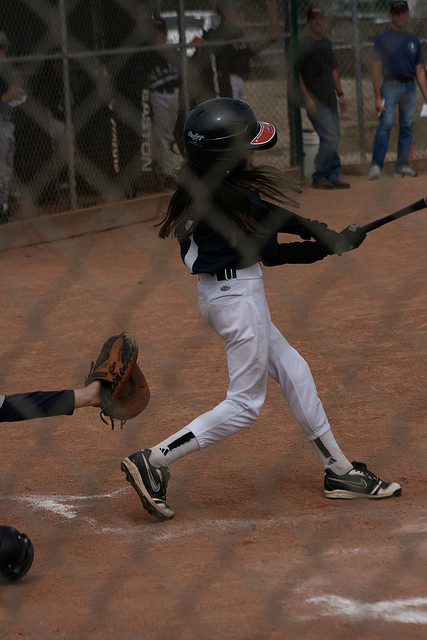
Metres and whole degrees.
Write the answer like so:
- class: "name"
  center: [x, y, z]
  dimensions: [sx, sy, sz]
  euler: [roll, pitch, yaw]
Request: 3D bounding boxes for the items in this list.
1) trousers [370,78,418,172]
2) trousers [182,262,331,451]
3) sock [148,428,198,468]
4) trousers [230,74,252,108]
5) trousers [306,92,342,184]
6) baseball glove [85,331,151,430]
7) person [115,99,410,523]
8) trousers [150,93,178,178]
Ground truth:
- class: "trousers"
  center: [2.130, -2.294, 8.174]
  dimensions: [0.472, 1.018, 0.597]
  euler: [2, 15, 12]
- class: "trousers"
  center: [0.141, 0.118, 2.227]
  dimensions: [0.478, 0.603, 0.243]
  euler: [-2, 15, -5]
- class: "sock"
  center: [-0.122, 0.390, 2.205]
  dimensions: [0.169, 0.094, 0.084]
  euler: [-31, -5, -8]
- class: "trousers"
  center: [0.324, -2.783, 8.364]
  dimensions: [0.200, 0.328, 0.257]
  euler: [4, 15, 16]
- class: "trousers"
  center: [1.318, -2.155, 8.288]
  dimensions: [0.387, 1.038, 0.381]
  euler: [2, 15, 9]
- class: "baseball glove"
  center: [-0.323, 0.208, 2.391]
  dimensions: [0.110, 0.290, 0.234]
  euler: [14, -19, -18]
- class: "person"
  center: [0.083, -0.097, 2.592]
  dimensions: [0.920, 1.351, 1.086]
  euler: [-3, 14, -8]
- class: "trousers"
  center: [-0.544, -2.071, 7.797]
  dimensions: [0.195, 0.913, 0.320]
  euler: [8, 17, 28]
